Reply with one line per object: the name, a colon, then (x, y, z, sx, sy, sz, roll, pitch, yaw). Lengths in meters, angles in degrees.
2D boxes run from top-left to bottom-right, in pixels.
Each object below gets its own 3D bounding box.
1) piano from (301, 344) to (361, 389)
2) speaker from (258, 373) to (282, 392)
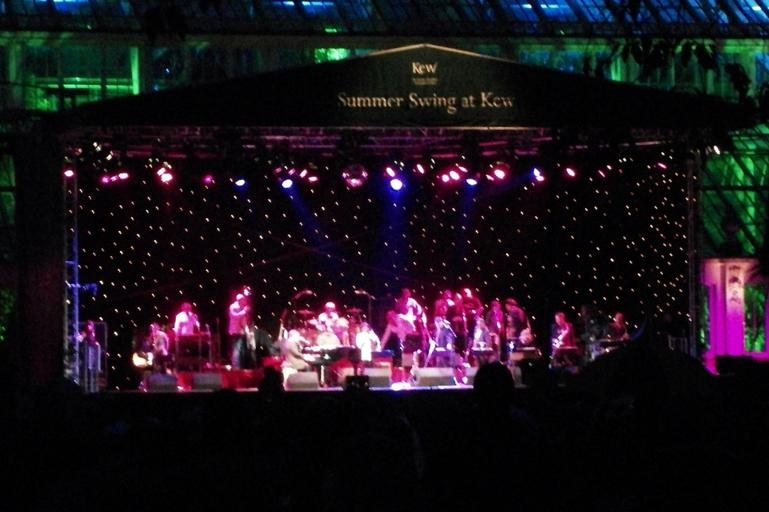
piano: (-1.057, 1.763, 17.369, 1.056, 0.736, 0.565, -1, 22, -25)
speaker: (-1.149, 1.265, 10.230, 0.233, 0.200, 0.238, -2, -5, -8)
